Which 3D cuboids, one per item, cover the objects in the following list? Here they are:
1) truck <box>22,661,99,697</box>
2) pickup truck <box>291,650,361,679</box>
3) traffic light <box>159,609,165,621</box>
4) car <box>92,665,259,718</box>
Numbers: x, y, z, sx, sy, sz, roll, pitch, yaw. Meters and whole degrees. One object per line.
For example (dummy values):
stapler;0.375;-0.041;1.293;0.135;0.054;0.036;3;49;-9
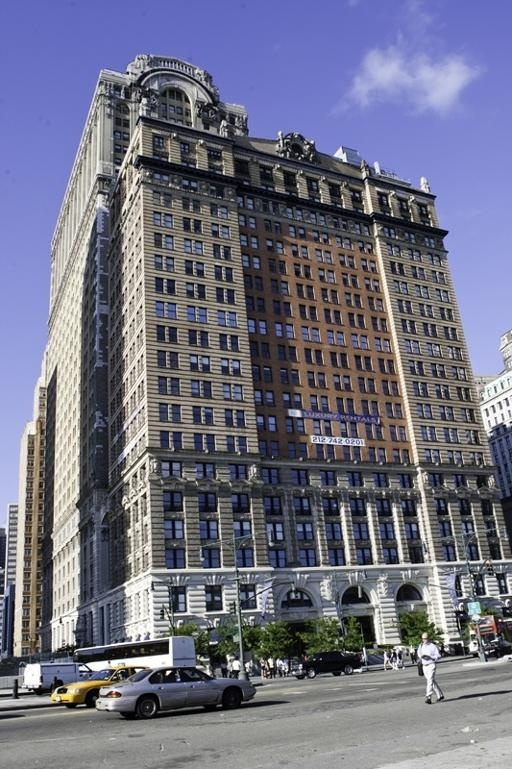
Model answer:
truck;-12.104;19.587;48.366;5.120;2.004;2.710;0;-17;-20
pickup truck;4.948;19.591;51.636;4.269;1.471;2.073;13;-43;-20
traffic light;-7.666;19.111;61.402;0.355;0.759;0.670;3;-23;-26
car;-2.454;9.712;23.336;4.587;1.544;1.325;7;-26;-36
